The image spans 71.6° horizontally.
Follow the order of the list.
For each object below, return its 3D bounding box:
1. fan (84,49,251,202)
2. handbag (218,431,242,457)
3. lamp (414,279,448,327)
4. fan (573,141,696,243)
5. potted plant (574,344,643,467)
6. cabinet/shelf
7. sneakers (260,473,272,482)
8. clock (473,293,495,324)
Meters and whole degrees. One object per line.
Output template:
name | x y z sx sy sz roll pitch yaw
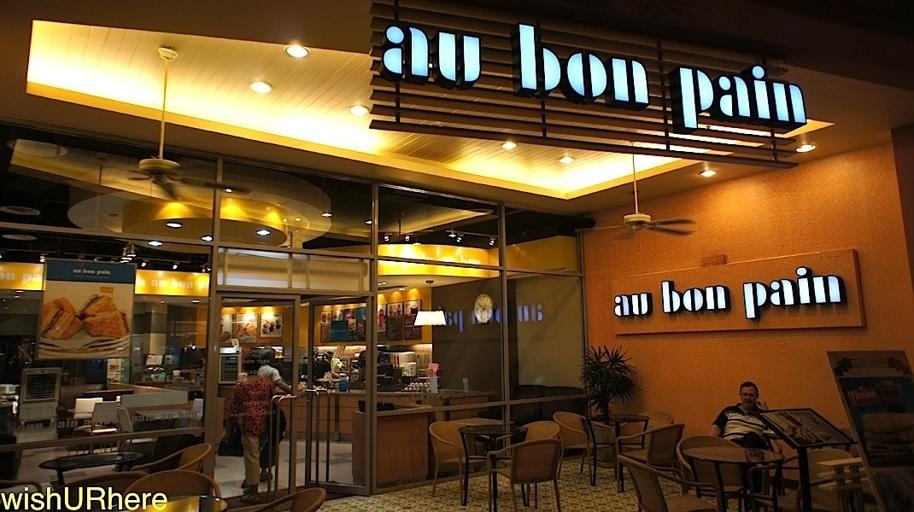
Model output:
fan | -3.879 -1.626 9.161 1.896 1.583 1.965 -21 -22 33
handbag | -3.461 2.866 9.620 0.243 0.353 0.427 -14 -19 40
lamp | -0.468 1.030 11.226 0.521 0.469 0.307 4 -21 -14
fan | 3.114 -1.060 10.902 1.953 1.441 1.597 -14 18 -22
potted plant | 2.819 2.754 12.086 1.138 1.796 0.976 12 -15 -21
cabinet/shelf | -1.149 3.317 10.865 0.740 1.020 1.326 -9 -15 41
sneakers | -2.948 3.433 9.810 0.178 0.142 0.100 -8 -9 18
clock | 0.481 1.000 11.756 0.666 0.634 0.110 2 -9 -31
